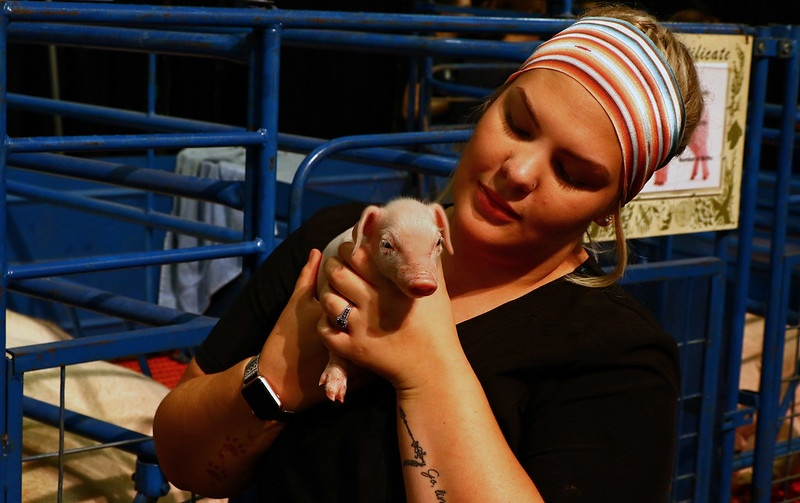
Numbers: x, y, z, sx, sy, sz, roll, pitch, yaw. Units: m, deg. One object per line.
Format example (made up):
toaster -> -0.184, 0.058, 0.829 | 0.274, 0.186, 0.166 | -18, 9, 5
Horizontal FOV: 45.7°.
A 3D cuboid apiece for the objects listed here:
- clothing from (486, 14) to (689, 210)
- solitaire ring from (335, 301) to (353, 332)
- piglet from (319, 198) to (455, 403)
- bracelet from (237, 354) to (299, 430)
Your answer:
clothing -> 0.677, -0.515, 3.559 | 0.322, 0.598, 0.620 | -30, 4, -6
solitaire ring -> -0.188, 0.230, 3.225 | 0.050, 0.085, 0.085 | 22, 45, 15
piglet -> -0.059, 0.069, 3.561 | 0.377, 0.660, 0.859 | -4, 18, -19
bracelet -> -0.438, 0.496, 3.432 | 0.221, 0.252, 0.157 | -33, 12, -8
